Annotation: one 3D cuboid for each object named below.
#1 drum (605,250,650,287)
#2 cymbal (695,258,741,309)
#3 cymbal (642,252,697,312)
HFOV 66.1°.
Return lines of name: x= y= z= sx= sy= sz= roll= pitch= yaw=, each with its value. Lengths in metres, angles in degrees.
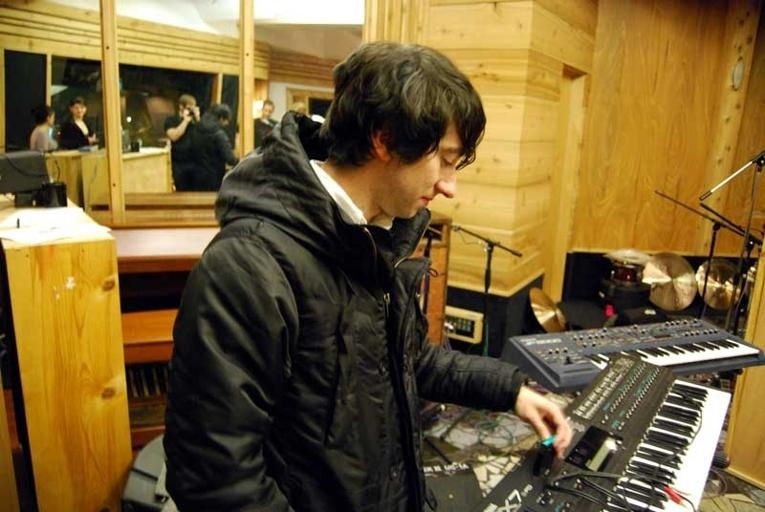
drum: x=2.593 y=0.100 z=6.248 sx=0.387 sy=0.254 sz=0.381 roll=-1 pitch=8 yaw=0
cymbal: x=3.334 y=0.285 z=5.905 sx=0.410 sy=0.495 sz=0.490 roll=2 pitch=9 yaw=3
cymbal: x=2.874 y=0.258 z=5.866 sx=0.510 sy=0.561 sz=0.247 roll=4 pitch=9 yaw=19
